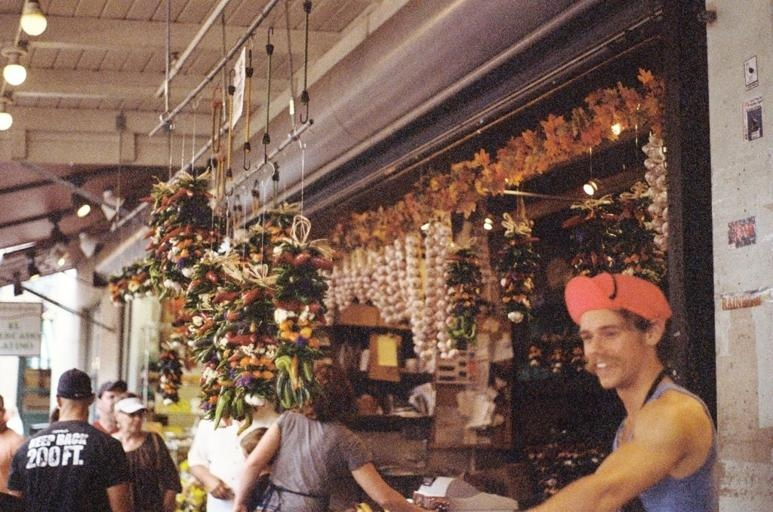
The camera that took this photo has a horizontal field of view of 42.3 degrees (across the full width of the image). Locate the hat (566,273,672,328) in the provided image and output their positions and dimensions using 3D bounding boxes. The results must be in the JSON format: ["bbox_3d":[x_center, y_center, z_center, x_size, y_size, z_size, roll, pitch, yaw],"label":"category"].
[{"bbox_3d":[1.216,0.231,5.236,0.352,0.278,0.428,0,-1,-31],"label":"hat"}]
